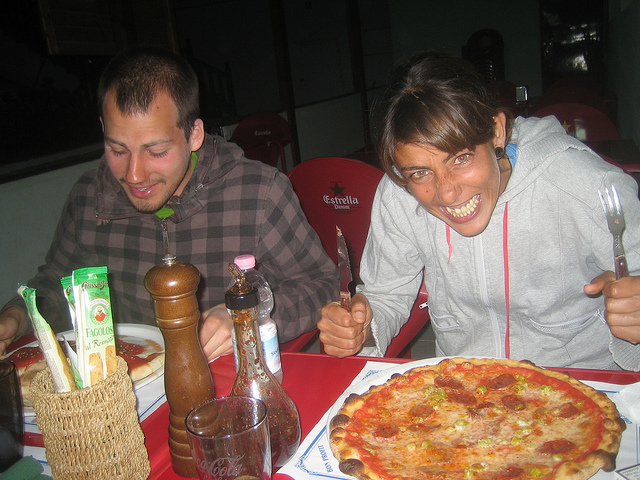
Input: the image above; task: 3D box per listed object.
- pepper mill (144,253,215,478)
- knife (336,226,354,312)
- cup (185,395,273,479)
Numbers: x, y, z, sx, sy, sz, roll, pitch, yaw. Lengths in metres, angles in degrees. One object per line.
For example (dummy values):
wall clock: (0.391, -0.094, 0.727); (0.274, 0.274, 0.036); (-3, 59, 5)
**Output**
pepper mill: (-0.244, 0.248, 0.943); (0.111, 0.448, 0.131); (-11, 11, -20)
knife: (0.066, 0.079, 1.255); (0.036, 0.270, 0.021); (-6, 16, -6)
cup: (-0.159, 0.339, 0.812); (0.109, 0.168, 0.100); (-19, 2, 1)
